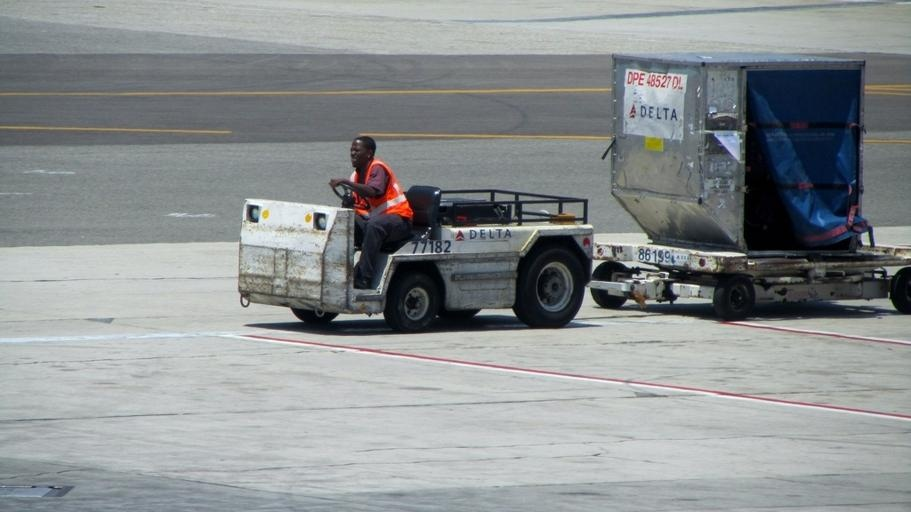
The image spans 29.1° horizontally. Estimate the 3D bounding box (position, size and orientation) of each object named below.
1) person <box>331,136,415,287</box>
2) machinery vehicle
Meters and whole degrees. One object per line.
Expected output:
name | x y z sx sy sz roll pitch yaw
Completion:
person | -1.292 -0.739 28.307 1.202 2.423 0.928 -4 10 -14
machinery vehicle | -0.653 0.061 28.731 5.374 1.451 2.933 0 0 -29
